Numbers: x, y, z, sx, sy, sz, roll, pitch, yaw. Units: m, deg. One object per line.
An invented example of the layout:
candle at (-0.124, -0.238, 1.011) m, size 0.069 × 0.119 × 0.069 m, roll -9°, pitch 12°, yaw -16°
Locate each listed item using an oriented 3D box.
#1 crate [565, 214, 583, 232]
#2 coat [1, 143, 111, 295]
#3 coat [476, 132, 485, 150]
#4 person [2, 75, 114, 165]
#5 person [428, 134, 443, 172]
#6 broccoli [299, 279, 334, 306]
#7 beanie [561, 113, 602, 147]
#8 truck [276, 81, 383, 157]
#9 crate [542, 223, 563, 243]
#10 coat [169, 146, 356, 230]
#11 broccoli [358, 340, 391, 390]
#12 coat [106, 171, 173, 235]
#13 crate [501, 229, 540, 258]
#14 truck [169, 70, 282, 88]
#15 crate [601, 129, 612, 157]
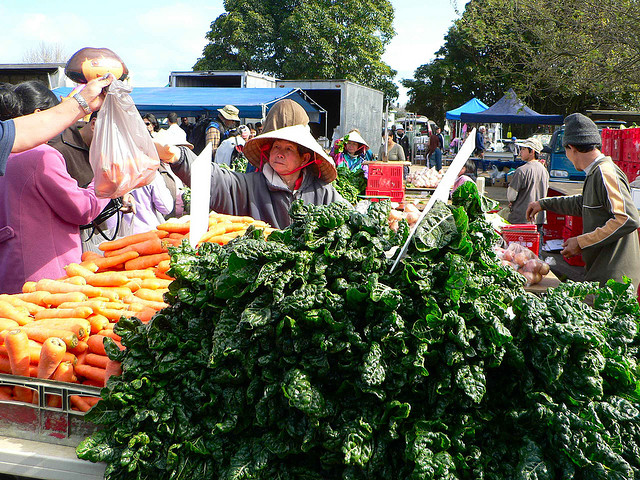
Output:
crate at (3.419, -0.223, 7.315) m, size 0.101 × 0.194 × 0.201 m, roll 2°, pitch 7°, yaw 5°
coat at (-1.761, -0.187, 3.851) m, size 0.663 × 0.943 × 0.660 m, roll 6°, pitch 20°, yaw -8°
coat at (7.228, -4.474, 24.608) m, size 0.263 × 0.715 × 1.988 m, roll 5°, pitch 12°, yaw 15°
person at (-1.548, -0.763, 3.302) m, size 0.226 × 0.521 × 0.749 m, roll 5°, pitch 12°, yaw 16°
person at (4.277, -3.263, 20.140) m, size 0.445 × 1.528 × 0.473 m, roll 3°, pitch 46°, yaw 18°
broccoli at (-0.015, 0.217, 2.220) m, size 0.093 × 0.043 × 0.098 m, roll 23°, pitch 51°, yaw 24°
beanie at (2.449, -1.045, 5.157) m, size 0.317 × 0.299 × 0.451 m, roll -5°, pitch 8°, yaw 20°
truck at (1.081, -5.098, 22.717) m, size 1.902 × 2.400 × 6.313 m, roll 6°, pitch 11°, yaw 21°
crate at (3.614, -0.131, 8.483) m, size 0.315 × 0.087 × 0.329 m, roll -4°, pitch 41°, yaw 22°
coat at (-0.439, -0.367, 3.946) m, size 1.041 × 0.461 × 0.307 m, roll 3°, pitch -3°, yaw -20°
broccoli at (0.214, 0.497, 2.122) m, size 0.126 × 0.177 × 0.119 m, roll 1°, pitch 11°, yaw -6°
coat at (-1.568, -0.298, 4.832) m, size 0.451 × 0.676 × 0.505 m, roll -1°, pitch 12°, yaw -7°
crate at (1.704, 0.030, 4.630) m, size 0.183 × 0.175 × 0.107 m, roll 7°, pitch 27°, yaw 13°
truck at (-3.486, -6.396, 21.743) m, size 3.830 × 0.762 × 3.306 m, roll 10°, pitch 14°, yaw 29°
crate at (5.570, -1.896, 10.568) m, size 0.178 × 0.488 × 0.775 m, roll 7°, pitch 12°, yaw 24°
